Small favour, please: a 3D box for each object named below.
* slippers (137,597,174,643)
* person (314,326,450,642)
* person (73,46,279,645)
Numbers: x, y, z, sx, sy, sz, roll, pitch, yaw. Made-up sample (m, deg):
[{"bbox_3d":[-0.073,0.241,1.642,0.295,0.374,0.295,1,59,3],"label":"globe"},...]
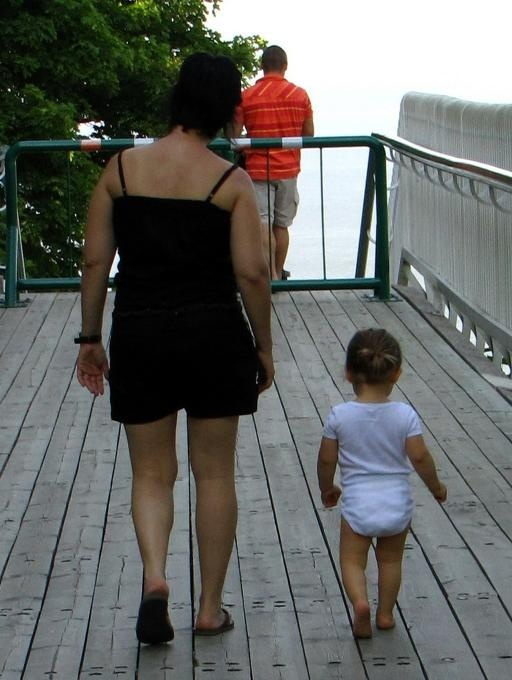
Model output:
[{"bbox_3d":[-0.242,0.675,1.618,0.064,0.156,0.061,-2,45,0],"label":"slippers"},{"bbox_3d":[0.330,0.392,1.853,0.329,0.833,0.292,-4,9,-31],"label":"person"},{"bbox_3d":[-0.221,0.151,1.711,0.527,1.281,0.428,1,8,0],"label":"person"}]
